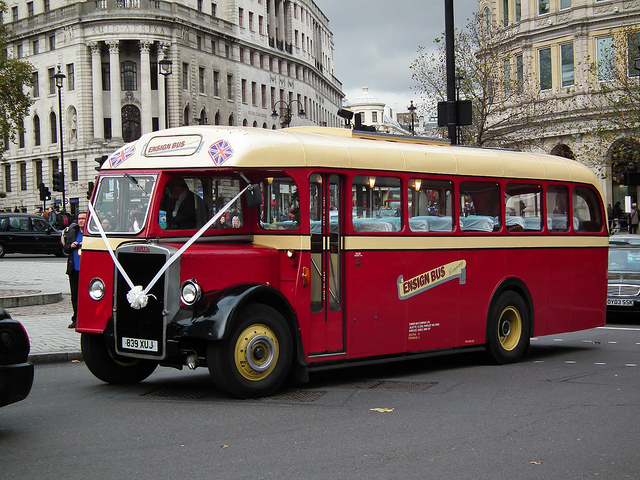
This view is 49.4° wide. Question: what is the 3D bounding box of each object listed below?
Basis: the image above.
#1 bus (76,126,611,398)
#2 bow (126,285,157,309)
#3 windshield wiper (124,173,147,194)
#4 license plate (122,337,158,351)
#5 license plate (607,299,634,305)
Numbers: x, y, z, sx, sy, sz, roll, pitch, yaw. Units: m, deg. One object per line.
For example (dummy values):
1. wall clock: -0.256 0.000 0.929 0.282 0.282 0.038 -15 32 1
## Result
1. bus: 1.162 0.258 11.388 9.769 3.631 2.371 1 0 -37
2. bow: -2.192 0.704 8.470 0.283 0.257 0.231 -2 -2 -9
3. windshield wiper: -2.489 -0.788 9.236 0.463 0.069 0.068 45 0 10
4. license plate: -2.228 1.283 8.558 0.587 0.148 0.018 1 0 29
5. license plate: 7.183 1.485 16.624 0.576 0.131 0.045 1 0 24
